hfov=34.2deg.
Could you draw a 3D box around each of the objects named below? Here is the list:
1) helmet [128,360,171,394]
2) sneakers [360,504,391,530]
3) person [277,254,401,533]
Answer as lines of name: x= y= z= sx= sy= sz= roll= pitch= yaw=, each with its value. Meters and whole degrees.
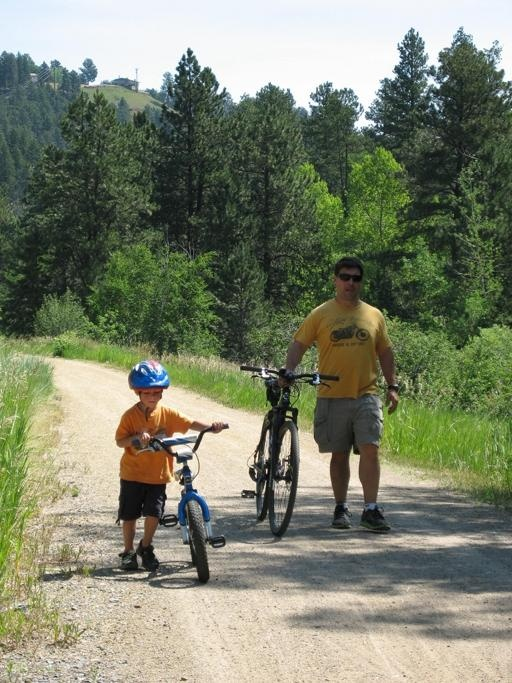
helmet: x=-0.658 y=0.217 z=5.000 sx=0.172 sy=0.186 sz=0.222 roll=0 pitch=11 yaw=-18
sneakers: x=0.900 y=1.341 z=6.286 sx=0.219 sy=0.199 sz=0.242 roll=5 pitch=1 yaw=10
person: x=0.661 y=0.401 z=6.339 sx=0.858 sy=1.986 sz=0.588 roll=5 pitch=1 yaw=7
